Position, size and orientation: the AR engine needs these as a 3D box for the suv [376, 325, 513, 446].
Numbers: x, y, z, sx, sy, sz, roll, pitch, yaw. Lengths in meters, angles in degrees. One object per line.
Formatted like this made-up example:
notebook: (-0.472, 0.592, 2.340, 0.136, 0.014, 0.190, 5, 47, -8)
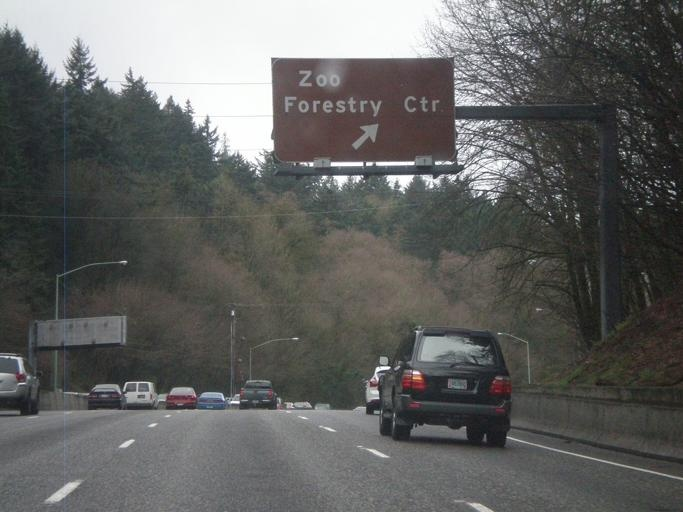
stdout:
suv: (2.751, 3.849, 28.841, 2.917, 3.427, 6.403, 5, -9, -3)
